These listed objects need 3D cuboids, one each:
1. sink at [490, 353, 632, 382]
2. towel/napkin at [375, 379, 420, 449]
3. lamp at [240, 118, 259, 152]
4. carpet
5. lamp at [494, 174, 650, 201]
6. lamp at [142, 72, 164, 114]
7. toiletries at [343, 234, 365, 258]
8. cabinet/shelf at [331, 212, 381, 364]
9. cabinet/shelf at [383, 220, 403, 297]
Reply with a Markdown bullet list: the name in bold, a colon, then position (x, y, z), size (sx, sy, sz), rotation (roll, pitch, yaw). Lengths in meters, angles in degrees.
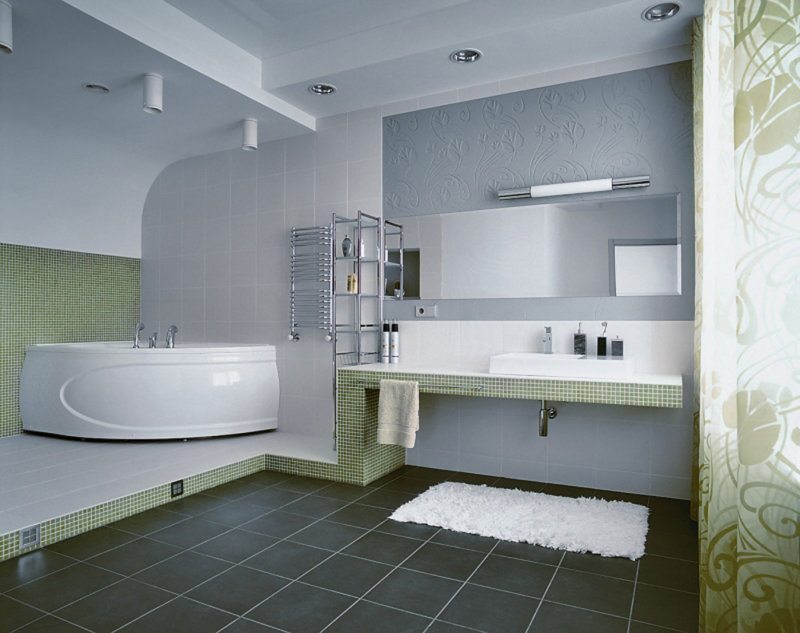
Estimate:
- **sink**: position (0.964, 0.309, 3.442), size (0.841, 0.124, 0.250), rotation (-2, 0, 20)
- **towel/napkin**: position (-0.008, 0.621, 3.627), size (0.297, 0.415, 0.109), rotation (1, -3, 26)
- **lamp**: position (-1.238, -1.476, 4.736), size (0.126, 0.228, 0.413), rotation (-2, 0, -13)
- **carpet**: position (0.734, 1.166, 3.316), size (1.356, 0.168, 0.756), rotation (-2, 0, 22)
- **lamp**: position (1.115, -0.841, 3.755), size (1.008, 0.076, 0.122), rotation (-2, 0, 28)
- **lamp**: position (-1.679, -1.515, 3.866), size (0.129, 0.264, 0.183), rotation (-2, 1, -22)
- **toiletries**: position (-0.370, -0.546, 4.458), size (0.212, 0.225, 0.130), rotation (2, 1, 23)
- **cabinet/shelf**: position (-0.320, -0.210, 4.482), size (0.396, 0.956, 0.439), rotation (-2, 1, -5)
- **cabinet/shelf**: position (-0.037, -0.408, 4.322), size (0.206, 0.573, 0.190), rotation (0, 7, -16)
